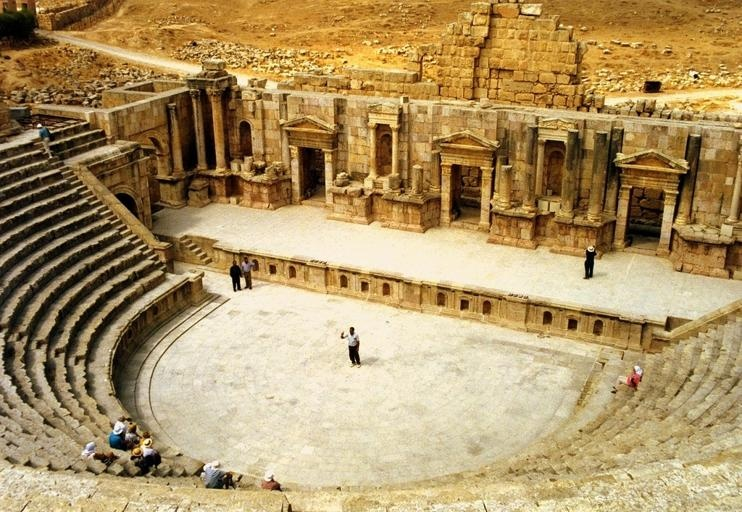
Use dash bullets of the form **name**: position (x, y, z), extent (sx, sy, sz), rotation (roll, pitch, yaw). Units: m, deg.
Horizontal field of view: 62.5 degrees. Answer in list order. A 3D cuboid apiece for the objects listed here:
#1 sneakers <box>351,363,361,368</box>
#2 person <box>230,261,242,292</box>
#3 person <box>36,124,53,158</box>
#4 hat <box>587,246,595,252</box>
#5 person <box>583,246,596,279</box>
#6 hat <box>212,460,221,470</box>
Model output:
- **sneakers**: position (-0.563, 4.008, 22.340), extent (0.381, 0.093, 0.138), rotation (2, 1, -1)
- **person**: position (-5.984, 0.957, 27.076), extent (0.412, 1.192, 0.437), rotation (-7, 25, -11)
- **person**: position (-14.408, -5.084, 27.096), extent (0.508, 1.208, 1.531), rotation (-13, 24, -23)
- **hat**: position (9.258, -0.292, 25.723), extent (0.309, 0.274, 0.492), rotation (7, 22, 19)
- **person**: position (9.270, 0.222, 25.885), extent (0.417, 1.359, 0.714), rotation (6, 25, 17)
- **hat**: position (-3.821, 5.147, 15.038), extent (0.148, 0.270, 0.316), rotation (-6, 22, -10)
